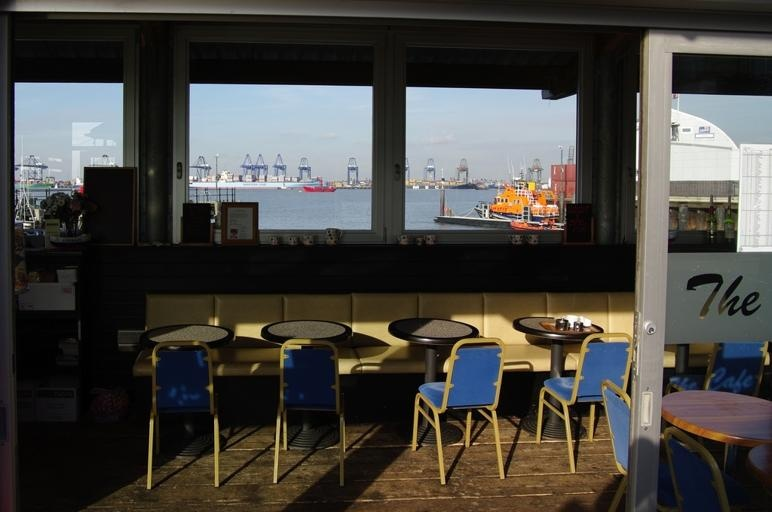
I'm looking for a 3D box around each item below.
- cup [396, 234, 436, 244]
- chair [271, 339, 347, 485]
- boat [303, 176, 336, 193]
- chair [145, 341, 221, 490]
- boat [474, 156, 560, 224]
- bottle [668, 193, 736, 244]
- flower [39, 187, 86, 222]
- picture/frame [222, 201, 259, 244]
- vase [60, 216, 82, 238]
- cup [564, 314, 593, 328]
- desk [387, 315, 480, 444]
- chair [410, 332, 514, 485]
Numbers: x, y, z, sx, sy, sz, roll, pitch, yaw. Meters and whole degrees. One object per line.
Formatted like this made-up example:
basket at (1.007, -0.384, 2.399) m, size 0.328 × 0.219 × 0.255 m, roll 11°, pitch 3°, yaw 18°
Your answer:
cup at (0.312, -0.153, 8.564) m, size 0.398 × 0.098 × 0.133 m, roll -1°, pitch 4°, yaw -3°
chair at (-0.649, 1.262, 7.013) m, size 0.626 × 1.117 × 0.827 m, roll -1°, pitch 4°, yaw -4°
boat at (-0.707, -0.718, 8.483) m, size 0.407 × 0.160 × 0.130 m, roll 1°, pitch 3°, yaw -10°
chair at (-1.683, 1.247, 6.894) m, size 0.586 × 1.165 × 0.753 m, roll -2°, pitch 4°, yaw -13°
boat at (1.384, -0.584, 8.973) m, size 0.412 × 0.631 × 1.257 m, roll 1°, pitch 2°, yaw -29°
bottle at (2.019, -0.221, 5.345) m, size 0.482 × 0.307 × 0.084 m, roll -2°, pitch 4°, yaw -17°
flower at (-3.059, -0.451, 7.948) m, size 0.405 × 0.278 × 0.183 m, roll -2°, pitch 4°, yaw -15°
picture/frame at (-1.440, -0.303, 8.181) m, size 0.394 × 0.450 × 0.058 m, roll -1°, pitch 3°, yaw -4°
vase at (-2.977, -0.254, 7.942) m, size 0.182 × 0.201 × 0.181 m, roll 1°, pitch 5°, yaw -18°
cup at (1.746, 0.609, 7.552) m, size 0.175 × 0.079 × 0.133 m, roll 16°, pitch -7°, yaw -31°
desk at (0.439, 1.226, 7.384) m, size 1.034 × 1.138 × 1.004 m, roll 4°, pitch -18°, yaw -19°
chair at (0.609, 1.222, 7.158) m, size 0.803 × 1.164 × 1.005 m, roll -1°, pitch 4°, yaw -2°
